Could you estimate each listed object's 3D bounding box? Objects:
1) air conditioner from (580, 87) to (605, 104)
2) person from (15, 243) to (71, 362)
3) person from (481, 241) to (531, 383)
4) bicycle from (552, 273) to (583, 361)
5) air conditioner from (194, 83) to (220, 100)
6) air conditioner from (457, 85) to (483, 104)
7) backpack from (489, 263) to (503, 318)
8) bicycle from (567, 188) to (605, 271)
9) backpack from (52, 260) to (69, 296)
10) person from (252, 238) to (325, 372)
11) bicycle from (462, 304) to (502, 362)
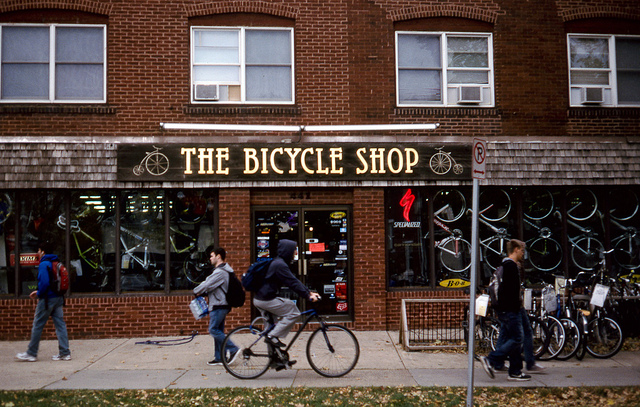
[{"bbox_3d":[7.860,-3.105,28.824,0.771,0.560,0.425,1,-6,-4],"label":"air conditioner"},{"bbox_3d":[-7.016,2.563,25.774,1.173,3.060,0.482,1,-2,-14],"label":"person"},{"bbox_3d":[4.506,2.631,24.317,1.156,3.406,0.520,1,-2,-12],"label":"person"},{"bbox_3d":[6.380,3.028,25.633,0.676,1.966,0.943,0,-2,13],"label":"bicycle"},{"bbox_3d":[-3.218,-3.024,28.418,0.771,0.544,0.413,0,2,-3],"label":"air conditioner"},{"bbox_3d":[4.317,-3.117,28.570,0.858,0.601,0.473,1,-2,0],"label":"air conditioner"},{"bbox_3d":[4.290,2.133,24.465,0.418,1.180,0.837,6,-1,7],"label":"backpack"},{"bbox_3d":[7.734,0.783,29.315,1.363,2.283,1.139,-10,-1,1],"label":"bicycle"},{"bbox_3d":[-6.722,1.932,25.819,0.419,0.922,0.268,1,-2,-26],"label":"backpack"},{"bbox_3d":[-0.950,2.480,24.264,1.340,3.169,0.551,0,-2,5],"label":"person"},{"bbox_3d":[4.163,3.357,25.886,0.704,1.341,1.270,1,-2,-18],"label":"bicycle"}]
